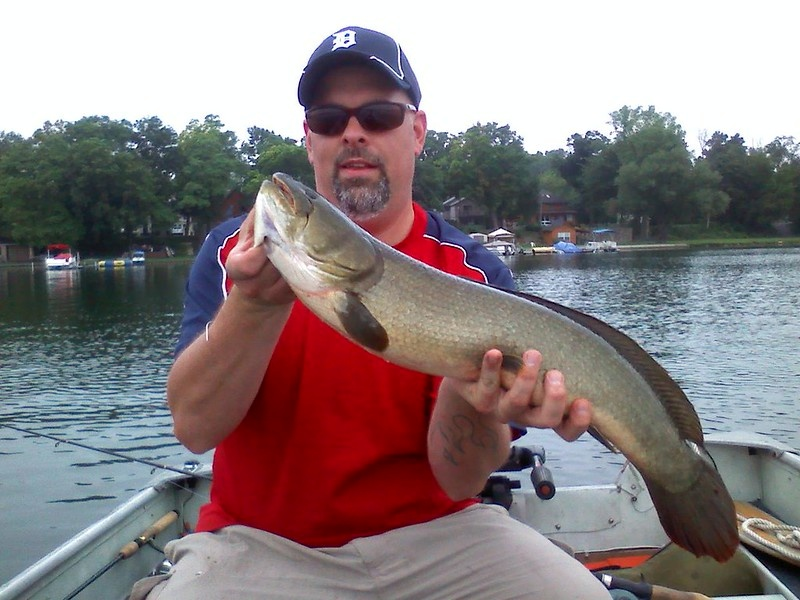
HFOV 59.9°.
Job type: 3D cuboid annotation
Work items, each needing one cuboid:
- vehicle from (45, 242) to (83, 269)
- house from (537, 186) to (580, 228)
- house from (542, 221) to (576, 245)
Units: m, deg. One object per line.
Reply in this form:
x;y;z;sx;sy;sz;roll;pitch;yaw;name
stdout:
-27.350;-3.394;56.338;2.532;1.379;4.286;-2;16;-21;vehicle
19.057;-11.674;83.736;5.044;3.932;5.218;-1;0;-2;house
17.956;-7.586;78.252;2.689;2.186;2.672;-2;6;-7;house
